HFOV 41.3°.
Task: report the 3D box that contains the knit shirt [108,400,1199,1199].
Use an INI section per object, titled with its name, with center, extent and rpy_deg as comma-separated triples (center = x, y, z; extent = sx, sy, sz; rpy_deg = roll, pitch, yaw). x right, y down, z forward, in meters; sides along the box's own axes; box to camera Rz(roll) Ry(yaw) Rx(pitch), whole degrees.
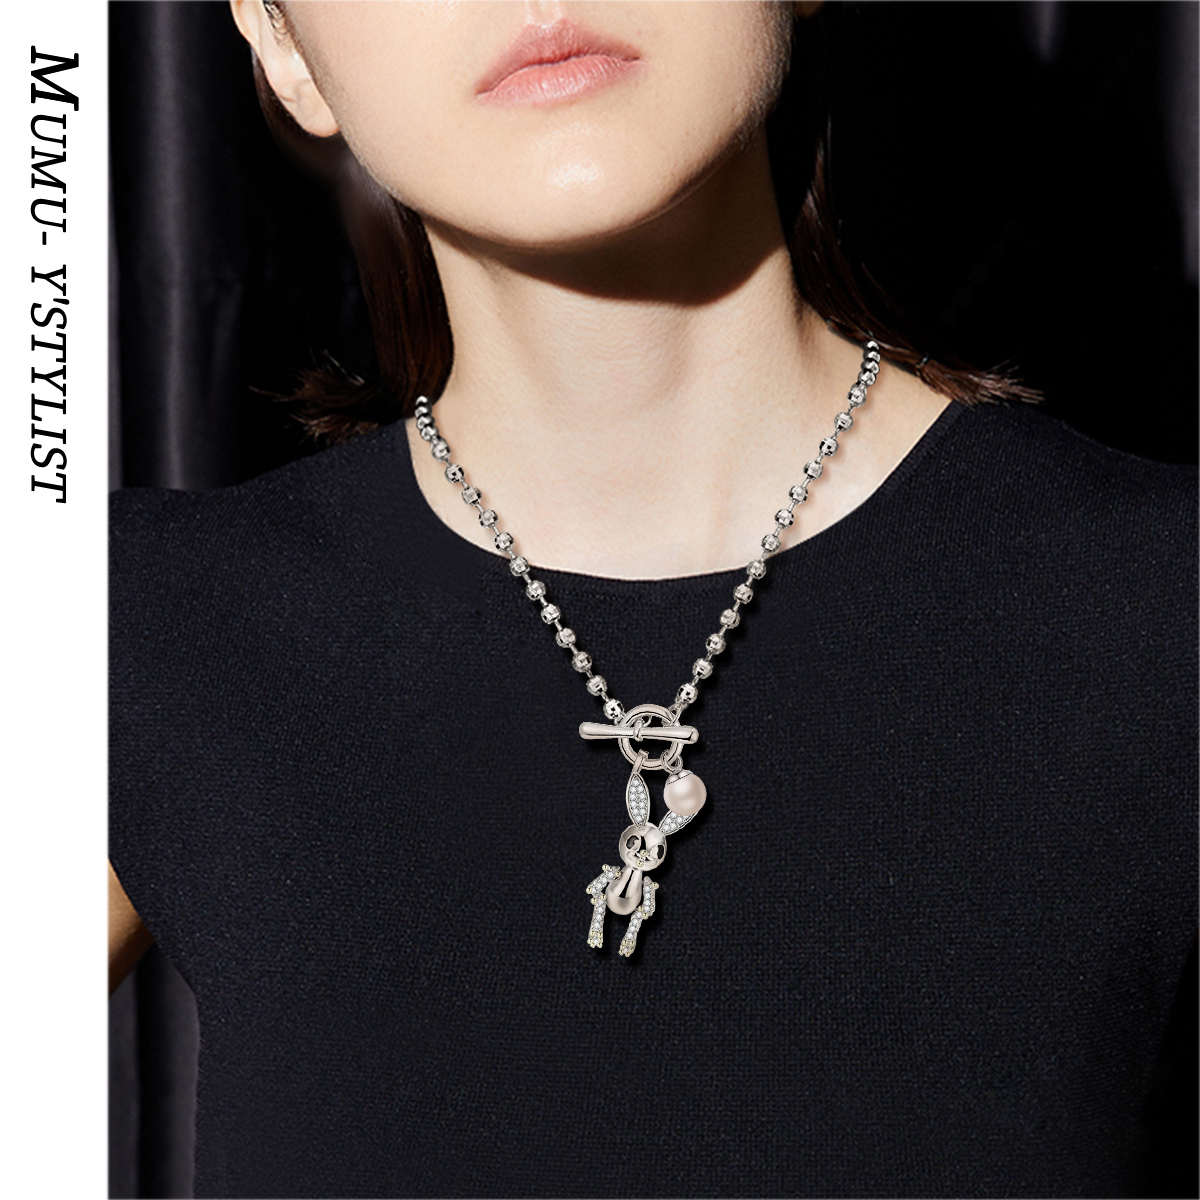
[knit shirt]
center = 0.075, 0.165, 1.250
extent = 0.921, 0.592, 0.408
rpy_deg = -1, -3, 2

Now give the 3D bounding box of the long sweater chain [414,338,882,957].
[long sweater chain]
center = 0.043, 0.025, 1.281
extent = 0.392, 0.455, 0.336
rpy_deg = -1, 17, -2
